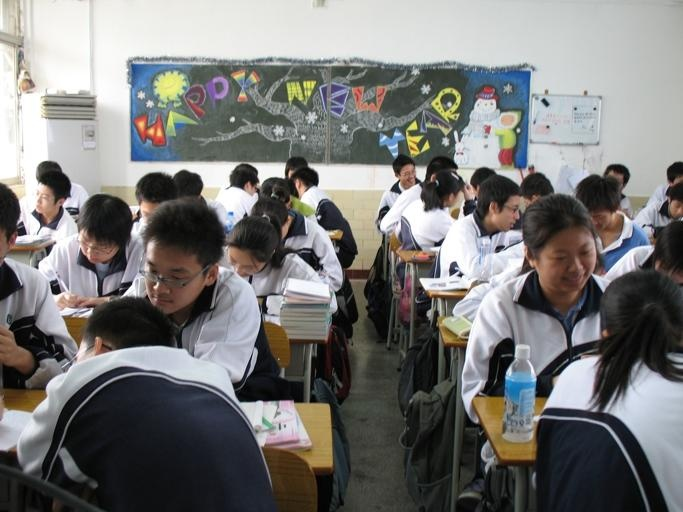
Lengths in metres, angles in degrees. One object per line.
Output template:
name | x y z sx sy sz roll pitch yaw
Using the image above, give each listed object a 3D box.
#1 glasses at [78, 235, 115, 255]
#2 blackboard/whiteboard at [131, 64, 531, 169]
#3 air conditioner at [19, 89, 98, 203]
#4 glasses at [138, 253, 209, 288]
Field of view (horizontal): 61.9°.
glasses | -1.158 -0.051 2.717 0.174 0.104 0.140 1 10 -8
blackboard/whiteboard | -0.146 -1.519 6.095 4.201 1.185 0.139 3 10 1
air conditioner | -2.843 -1.047 5.997 0.555 1.095 0.533 -4 -5 -38
glasses | -0.504 0.065 1.715 0.202 0.059 0.075 2 10 -5
